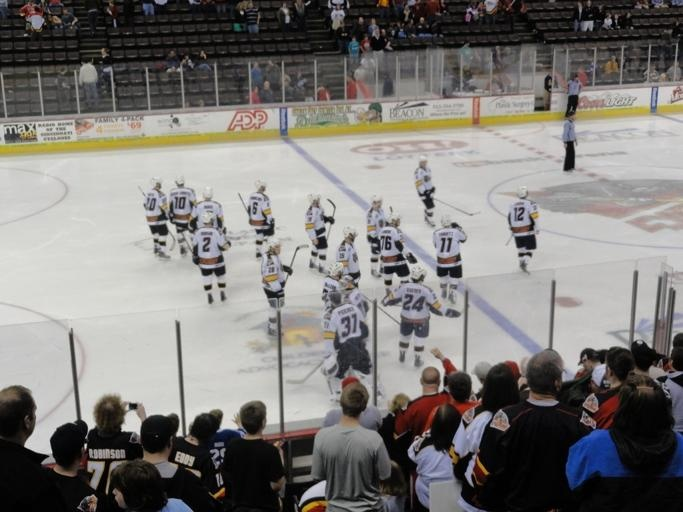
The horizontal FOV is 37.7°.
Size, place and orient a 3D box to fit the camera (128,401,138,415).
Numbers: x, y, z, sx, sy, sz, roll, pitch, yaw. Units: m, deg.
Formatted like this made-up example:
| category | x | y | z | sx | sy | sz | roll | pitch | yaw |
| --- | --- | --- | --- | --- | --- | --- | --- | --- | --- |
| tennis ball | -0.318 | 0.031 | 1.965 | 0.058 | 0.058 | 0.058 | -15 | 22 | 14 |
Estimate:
| category | x | y | z | sx | sy | sz | roll | pitch | yaw |
| --- | --- | --- | --- | --- | --- | --- | --- | --- | --- |
| camera | -2.613 | 1.908 | 12.447 | 0.046 | 0.143 | 0.161 | 6 | -1 | 16 |

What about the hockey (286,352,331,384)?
| category | x | y | z | sx | sy | sz | roll | pitch | yaw |
| --- | --- | --- | --- | --- | --- | --- | --- | --- | --- |
| hockey | -0.460 | 1.490 | 13.262 | 0.615 | 0.232 | 0.068 | -29 | 60 | -24 |
